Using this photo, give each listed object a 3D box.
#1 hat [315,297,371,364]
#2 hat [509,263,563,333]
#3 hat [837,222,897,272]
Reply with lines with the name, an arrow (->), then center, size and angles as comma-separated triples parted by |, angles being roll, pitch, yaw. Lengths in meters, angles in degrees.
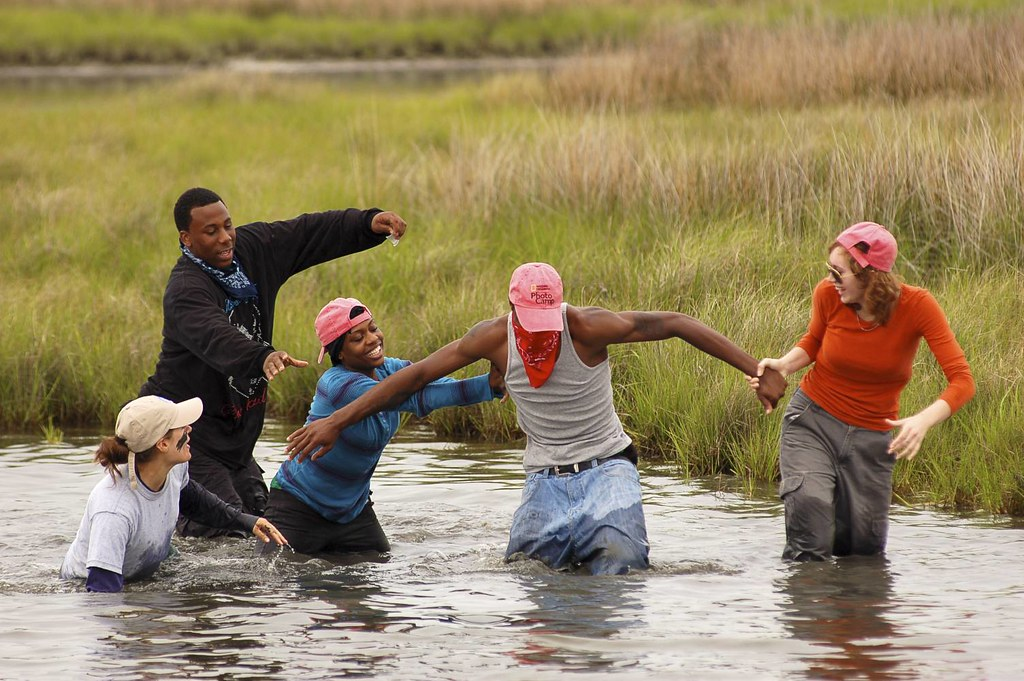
hat -> -1.543, -0.142, 13.662 | 0.609, 0.339, 0.438 | -30, 5, 29
hat -> 0.204, -0.388, 13.238 | 0.398, 0.338, 0.618 | -3, 32, -15
hat -> 3.076, -0.801, 13.335 | 0.494, 0.431, 0.276 | -3, 5, 11
